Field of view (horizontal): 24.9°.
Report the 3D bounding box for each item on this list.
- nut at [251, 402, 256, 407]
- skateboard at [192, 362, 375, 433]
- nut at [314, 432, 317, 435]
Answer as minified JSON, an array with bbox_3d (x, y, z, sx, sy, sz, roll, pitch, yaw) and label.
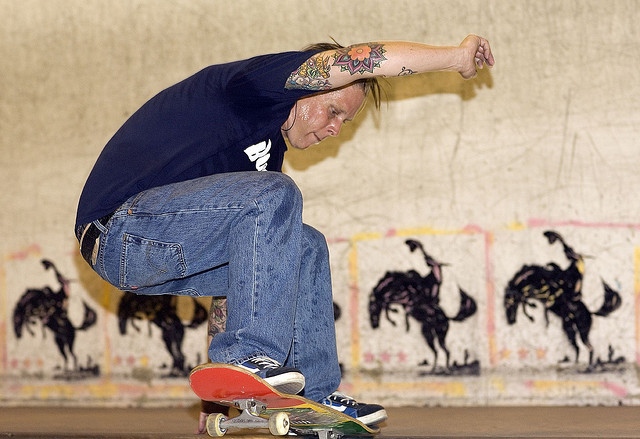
[{"bbox_3d":[-0.364,0.997,7.910,0.025,0.024,0.006,6,-12,-24],"label":"nut"},{"bbox_3d":[-0.234,1.023,8.012,0.399,0.182,1.041,-16,-38,37],"label":"skateboard"},{"bbox_3d":[-0.025,1.206,8.263,0.009,0.020,0.027,-27,5,3],"label":"nut"}]
